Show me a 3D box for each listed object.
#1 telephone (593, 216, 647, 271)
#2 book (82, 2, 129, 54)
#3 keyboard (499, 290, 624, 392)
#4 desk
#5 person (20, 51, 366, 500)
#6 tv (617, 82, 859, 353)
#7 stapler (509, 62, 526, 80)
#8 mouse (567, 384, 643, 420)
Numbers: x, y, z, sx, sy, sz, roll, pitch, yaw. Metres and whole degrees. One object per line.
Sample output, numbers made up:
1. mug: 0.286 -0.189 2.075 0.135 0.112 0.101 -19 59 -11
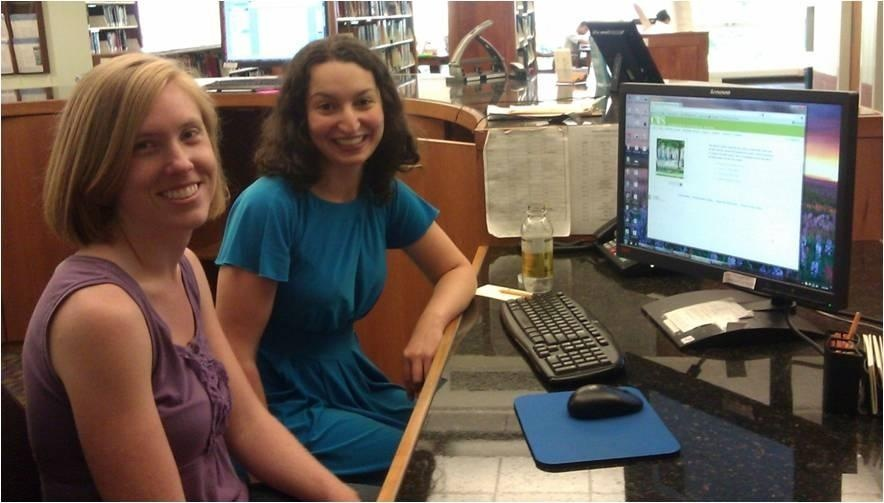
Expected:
1. telephone: 0.653 -0.012 2.501 0.188 0.112 0.242 -3 14 -13
2. book: -4.599 -3.052 9.043 0.334 0.698 0.939 -6 12 -6
3. keyboard: 0.366 0.256 2.113 0.298 0.060 0.536 -7 20 -9
4. desk: 0.555 0.389 1.915 1.229 0.319 0.947 -1 12 13
5. person: -0.783 0.119 1.792 0.715 1.281 0.471 -13 15 -31
6. tv: 0.911 -0.106 2.023 0.440 0.666 0.725 -13 18 -26
7. stapler: 0.539 -1.334 4.915 0.149 0.132 0.088 -8 22 3
8. mouse: 0.444 0.395 1.783 0.172 0.051 0.091 -7 15 1
